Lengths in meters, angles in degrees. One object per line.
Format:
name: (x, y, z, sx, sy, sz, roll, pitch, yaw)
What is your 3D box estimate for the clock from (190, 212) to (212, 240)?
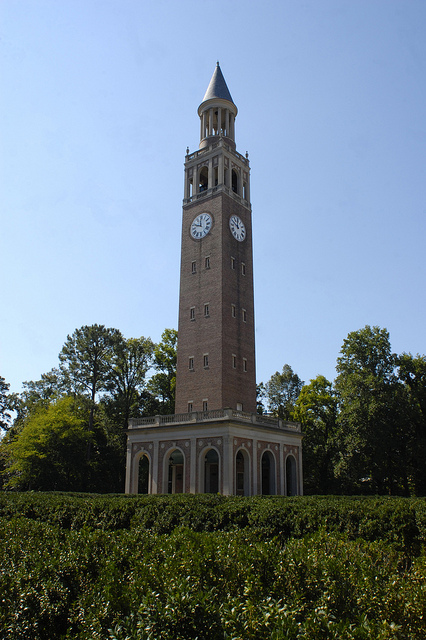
clock: (-0.885, -7.453, 43.220, 0.414, 2.005, 1.851, 24, -35, -36)

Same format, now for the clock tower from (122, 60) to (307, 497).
clock tower: (0.753, -5.548, 42.919, 8.953, 37.485, 8.816, -16, -27, 42)

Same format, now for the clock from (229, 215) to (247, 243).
clock: (1.930, -7.277, 43.645, 0.194, 2.363, 2.215, -8, -14, 32)
